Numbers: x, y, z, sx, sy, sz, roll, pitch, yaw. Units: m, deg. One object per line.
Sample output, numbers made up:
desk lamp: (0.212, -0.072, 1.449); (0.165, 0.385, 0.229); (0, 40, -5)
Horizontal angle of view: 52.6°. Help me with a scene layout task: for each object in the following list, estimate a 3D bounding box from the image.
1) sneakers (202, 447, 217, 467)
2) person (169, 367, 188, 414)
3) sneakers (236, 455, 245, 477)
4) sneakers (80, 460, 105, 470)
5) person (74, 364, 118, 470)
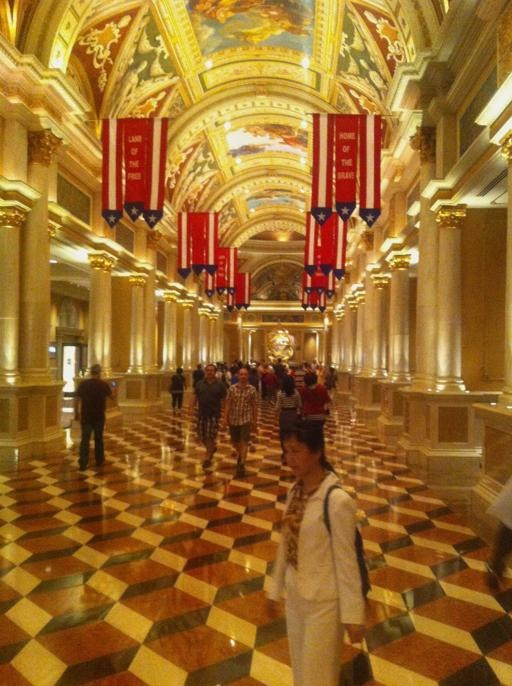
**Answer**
sneakers: (-0.655, 1.531, 7.228); (0.136, 0.417, 0.121); (-2, -28, 22)
person: (-2.226, 1.328, 14.562); (0.393, 1.250, 1.637); (0, -3, -9)
sneakers: (-0.201, 1.596, 6.753); (0.106, 0.254, 0.307); (0, -3, -2)
sneakers: (-2.225, 1.664, 7.051); (0.161, 0.069, 0.169); (2, -1, 5)
person: (-2.209, 1.003, 7.088); (0.465, 1.394, 0.519); (1, -3, -18)
